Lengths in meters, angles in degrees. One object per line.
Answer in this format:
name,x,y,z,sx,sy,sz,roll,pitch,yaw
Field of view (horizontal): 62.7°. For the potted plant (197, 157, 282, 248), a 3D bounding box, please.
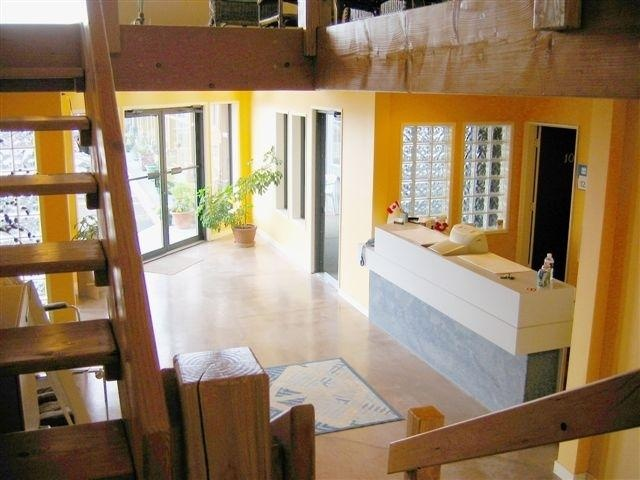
potted plant,-1.568,-0.660,9.757,1.323,1.473,1.082,-19,13,-1
